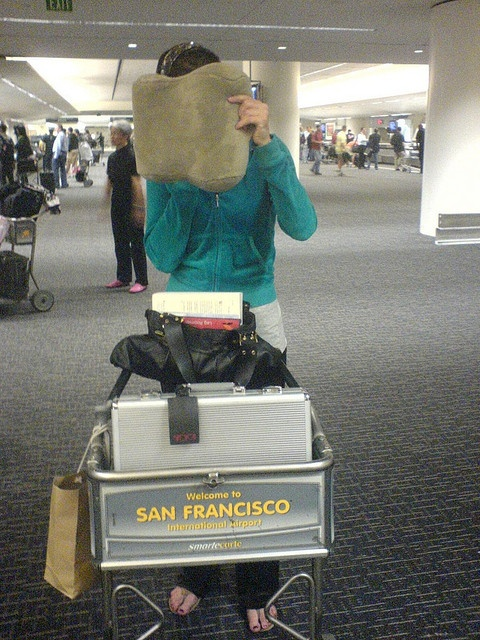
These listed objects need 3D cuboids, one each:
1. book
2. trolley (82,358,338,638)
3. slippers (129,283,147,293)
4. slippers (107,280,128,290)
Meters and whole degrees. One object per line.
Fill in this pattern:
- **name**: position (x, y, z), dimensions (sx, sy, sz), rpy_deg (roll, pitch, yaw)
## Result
- **book**: position (-0.090, -0.021, 1.094), dimensions (0.188, 0.075, 0.034), rpy_deg (1, 18, 7)
- **trolley**: position (-0.059, 0.258, 1.036), dimensions (0.357, 0.381, 0.473), rpy_deg (-1, 11, -3)
- **slippers**: position (-1.081, -0.321, 5.604), dimensions (0.077, 0.076, 0.202), rpy_deg (-4, 3, 8)
- **slippers**: position (-1.338, -0.379, 5.816), dimensions (0.227, 0.098, 0.085), rpy_deg (-1, 0, -17)
